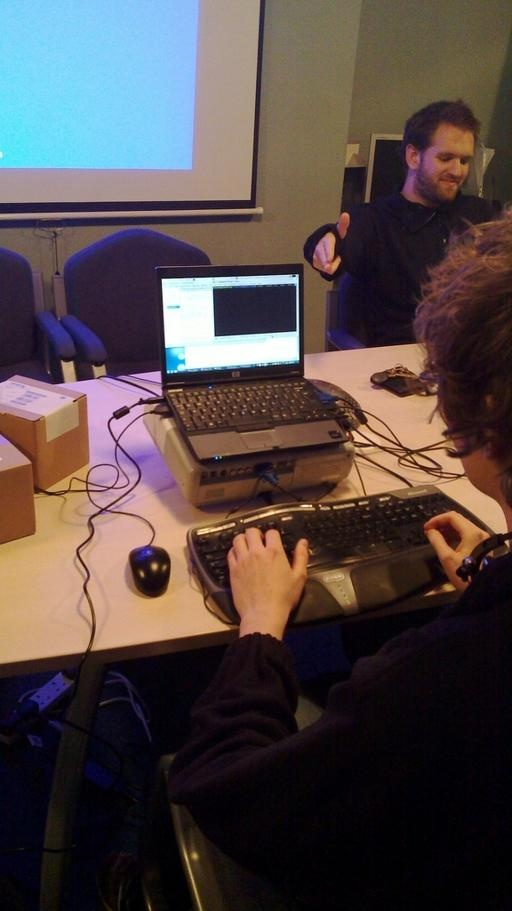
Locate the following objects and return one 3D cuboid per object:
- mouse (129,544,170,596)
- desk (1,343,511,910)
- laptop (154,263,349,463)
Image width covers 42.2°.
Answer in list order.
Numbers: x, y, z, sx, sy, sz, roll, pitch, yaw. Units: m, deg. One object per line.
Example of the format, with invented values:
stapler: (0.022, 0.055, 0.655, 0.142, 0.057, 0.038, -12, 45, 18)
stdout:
mouse: (-0.143, 0.158, 0.915, 0.055, 0.051, 0.066, -4, 27, -10)
desk: (-0.085, 0.407, 1.462, 1.233, 0.683, 0.730, -8, 41, -14)
laptop: (-0.040, -0.099, 1.292, 0.318, 0.276, 0.375, -8, 53, -23)
